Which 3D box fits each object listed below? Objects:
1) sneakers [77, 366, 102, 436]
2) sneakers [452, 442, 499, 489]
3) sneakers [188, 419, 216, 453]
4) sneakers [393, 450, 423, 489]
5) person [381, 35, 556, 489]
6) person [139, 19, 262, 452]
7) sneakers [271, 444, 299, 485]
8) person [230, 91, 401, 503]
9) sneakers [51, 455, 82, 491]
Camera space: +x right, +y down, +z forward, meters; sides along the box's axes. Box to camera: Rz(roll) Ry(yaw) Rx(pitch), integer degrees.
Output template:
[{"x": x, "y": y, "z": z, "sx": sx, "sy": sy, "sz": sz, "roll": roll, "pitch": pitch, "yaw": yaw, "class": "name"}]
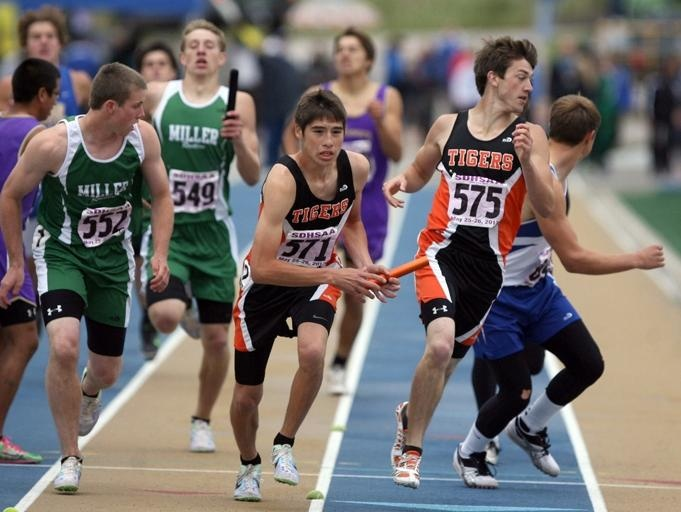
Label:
[{"x": -1.601, "y": 1.000, "z": 5.076, "sx": 0.173, "sy": 0.524, "sz": 0.196, "roll": -2, "pitch": 16, "yaw": -21, "class": "sneakers"}, {"x": 0.827, "y": 1.322, "z": 4.920, "sx": 0.151, "sy": 0.197, "sz": 0.412, "roll": 14, "pitch": 5, "yaw": -25, "class": "sneakers"}, {"x": -0.958, "y": 1.251, "z": 5.511, "sx": 0.176, "sy": 0.220, "sz": 0.194, "roll": 0, "pitch": 3, "yaw": -11, "class": "sneakers"}, {"x": 0.361, "y": 1.167, "z": 4.309, "sx": 0.136, "sy": 0.194, "sz": 0.218, "roll": 1, "pitch": 3, "yaw": 2, "class": "sneakers"}, {"x": 0.652, "y": -0.039, "z": 4.657, "sx": 0.914, "sy": 2.510, "sz": 0.654, "roll": -1, "pitch": 4, "yaw": -29, "class": "person"}, {"x": -1.002, "y": -0.143, "z": 5.638, "sx": 1.067, "sy": 3.056, "sz": 1.082, "roll": -3, "pitch": -8, "yaw": 15, "class": "person"}, {"x": -0.301, "y": 1.150, "z": 4.294, "sx": 0.130, "sy": 0.232, "sz": 0.208, "roll": 1, "pitch": 3, "yaw": -5, "class": "sneakers"}, {"x": -0.194, "y": 0.234, "z": 4.431, "sx": 0.819, "sy": 2.380, "sz": 0.570, "roll": 0, "pitch": 3, "yaw": -9, "class": "person"}, {"x": -1.497, "y": 1.216, "z": 4.360, "sx": 0.136, "sy": 0.194, "sz": 0.119, "roll": -1, "pitch": 4, "yaw": -24, "class": "sneakers"}]
